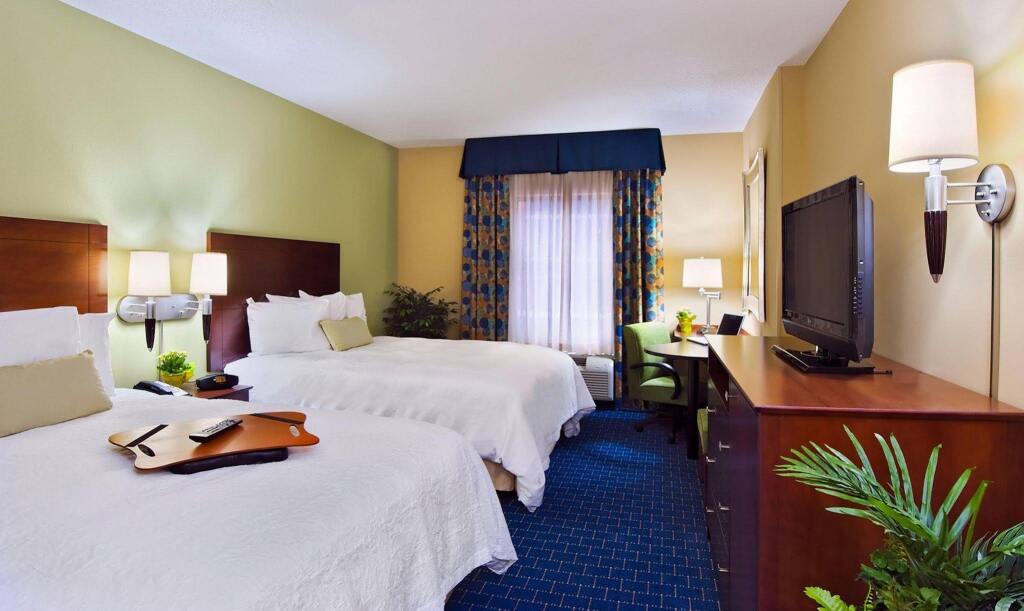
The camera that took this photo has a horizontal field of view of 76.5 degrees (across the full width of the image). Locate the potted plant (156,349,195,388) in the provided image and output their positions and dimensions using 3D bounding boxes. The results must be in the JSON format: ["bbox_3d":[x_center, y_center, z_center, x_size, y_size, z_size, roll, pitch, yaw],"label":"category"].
[{"bbox_3d":[-2.605,0.483,5.123,0.299,0.299,0.283,-1,3,-13],"label":"potted plant"}]

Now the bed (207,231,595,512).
[{"bbox_3d":[-0.924,0.590,5.756,2.626,1.651,2.370,3,0,15],"label":"bed"}]

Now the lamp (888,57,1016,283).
[{"bbox_3d":[2.171,-0.677,3.280,0.533,1.079,0.279,0,6,4],"label":"lamp"}]

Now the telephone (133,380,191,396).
[{"bbox_3d":[-2.537,0.596,4.708,0.341,0.075,0.196,6,0,-8],"label":"telephone"}]
